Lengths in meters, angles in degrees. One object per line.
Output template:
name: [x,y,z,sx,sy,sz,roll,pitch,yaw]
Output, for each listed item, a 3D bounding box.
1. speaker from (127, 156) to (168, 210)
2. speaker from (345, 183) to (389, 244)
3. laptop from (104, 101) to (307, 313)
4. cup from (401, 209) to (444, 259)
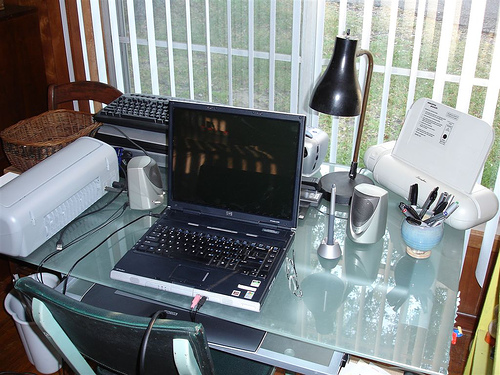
speaker: [-0.383,-0.026,1.384,0.110,0.194,0.139,4,28,1]
speaker: [0.383,0.098,1.228,0.133,0.176,0.139,4,5,-19]
laptop: [-0.115,0.025,1.120,0.495,0.413,0.450,9,31,14]
cup: [0.542,0.159,1.233,0.113,0.131,0.133,2,24,4]
